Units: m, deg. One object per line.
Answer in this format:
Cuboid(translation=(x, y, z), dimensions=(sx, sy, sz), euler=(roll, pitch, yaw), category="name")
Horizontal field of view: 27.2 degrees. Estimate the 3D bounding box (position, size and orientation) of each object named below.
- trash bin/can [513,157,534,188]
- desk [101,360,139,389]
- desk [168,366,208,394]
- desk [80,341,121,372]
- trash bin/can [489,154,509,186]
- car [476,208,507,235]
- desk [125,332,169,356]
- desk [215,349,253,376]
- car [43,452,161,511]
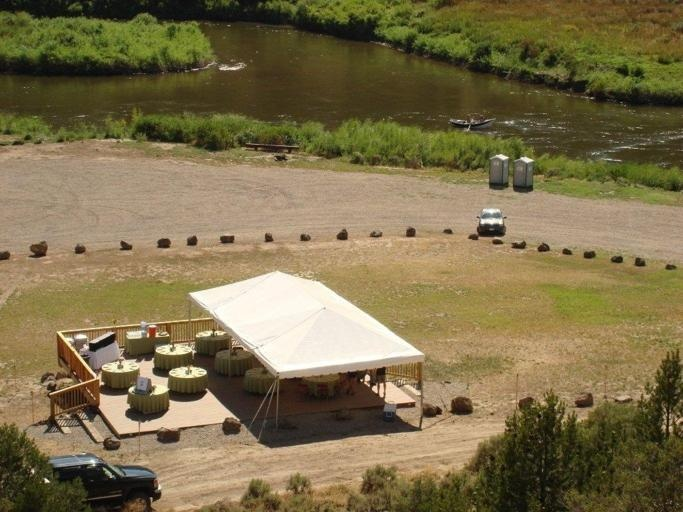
Cuboid(translation=(15.913, -7.051, 121.281), dimensions=(2.267, 2.678, 1.326), euler=(-8, 16, -23), category="trash bin/can")
Cuboid(translation=(-14.387, 7.657, 92.143), dimensions=(1.717, 1.521, 1.967), euler=(2, 30, -5), category="desk")
Cuboid(translation=(-10.067, 8.250, 92.015), dimensions=(1.663, 1.481, 1.829), euler=(0, 17, -11), category="desk")
Cuboid(translation=(-15.734, 6.627, 92.936), dimensions=(1.832, 1.191, 2.036), euler=(0, 12, 9), category="desk")
Cuboid(translation=(13.756, -7.381, 121.992), dimensions=(1.878, 2.632, 1.663), euler=(-3, 15, -5), category="trash bin/can")
Cuboid(translation=(12.105, -2.727, 113.179), dimensions=(2.249, 1.705, 2.762), euler=(0, 17, 6), category="car")
Cuboid(translation=(-13.425, 5.733, 94.876), dimensions=(2.263, 1.294, 1.580), euler=(-7, 29, -18), category="desk")
Cuboid(translation=(-7.160, 7.107, 93.646), dimensions=(1.685, 1.009, 1.885), euler=(3, 16, 2), category="desk")
Cuboid(translation=(-14.188, 13.587, 84.880), dimensions=(5.424, 3.020, 3.243), euler=(-2, 18, -11), category="car")
